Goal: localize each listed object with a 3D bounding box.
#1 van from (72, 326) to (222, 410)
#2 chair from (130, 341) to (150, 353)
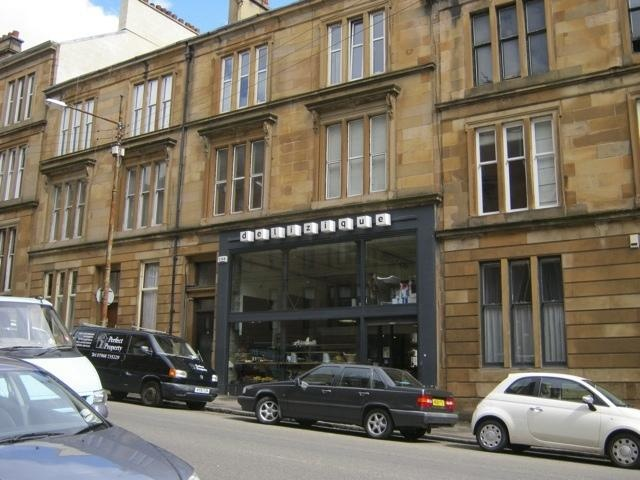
[{"bbox_3d":[-5.817,4.186,23.470,4.891,2.035,2.523,-8,-15,34],"label":"van"},{"bbox_3d":[-5.664,3.346,22.324,0.396,0.283,0.547,5,-19,-6],"label":"chair"}]
